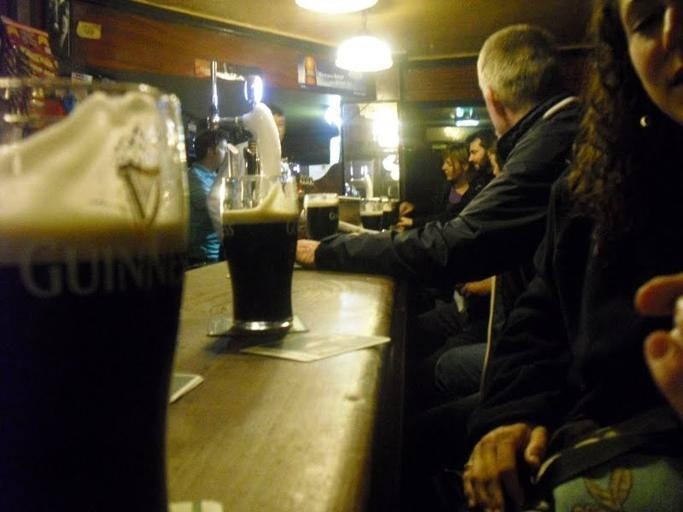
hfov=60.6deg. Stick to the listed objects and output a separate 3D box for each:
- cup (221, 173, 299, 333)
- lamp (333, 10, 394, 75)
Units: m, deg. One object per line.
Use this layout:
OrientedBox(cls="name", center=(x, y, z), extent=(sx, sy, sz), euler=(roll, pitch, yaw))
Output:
OrientedBox(cls="cup", center=(-0.128, -0.003, 0.931), extent=(0.117, 0.246, 0.058), euler=(-1, 9, -10))
OrientedBox(cls="lamp", center=(0.189, -1.583, 4.484), extent=(0.517, 0.537, 0.543), euler=(6, 17, 19))
